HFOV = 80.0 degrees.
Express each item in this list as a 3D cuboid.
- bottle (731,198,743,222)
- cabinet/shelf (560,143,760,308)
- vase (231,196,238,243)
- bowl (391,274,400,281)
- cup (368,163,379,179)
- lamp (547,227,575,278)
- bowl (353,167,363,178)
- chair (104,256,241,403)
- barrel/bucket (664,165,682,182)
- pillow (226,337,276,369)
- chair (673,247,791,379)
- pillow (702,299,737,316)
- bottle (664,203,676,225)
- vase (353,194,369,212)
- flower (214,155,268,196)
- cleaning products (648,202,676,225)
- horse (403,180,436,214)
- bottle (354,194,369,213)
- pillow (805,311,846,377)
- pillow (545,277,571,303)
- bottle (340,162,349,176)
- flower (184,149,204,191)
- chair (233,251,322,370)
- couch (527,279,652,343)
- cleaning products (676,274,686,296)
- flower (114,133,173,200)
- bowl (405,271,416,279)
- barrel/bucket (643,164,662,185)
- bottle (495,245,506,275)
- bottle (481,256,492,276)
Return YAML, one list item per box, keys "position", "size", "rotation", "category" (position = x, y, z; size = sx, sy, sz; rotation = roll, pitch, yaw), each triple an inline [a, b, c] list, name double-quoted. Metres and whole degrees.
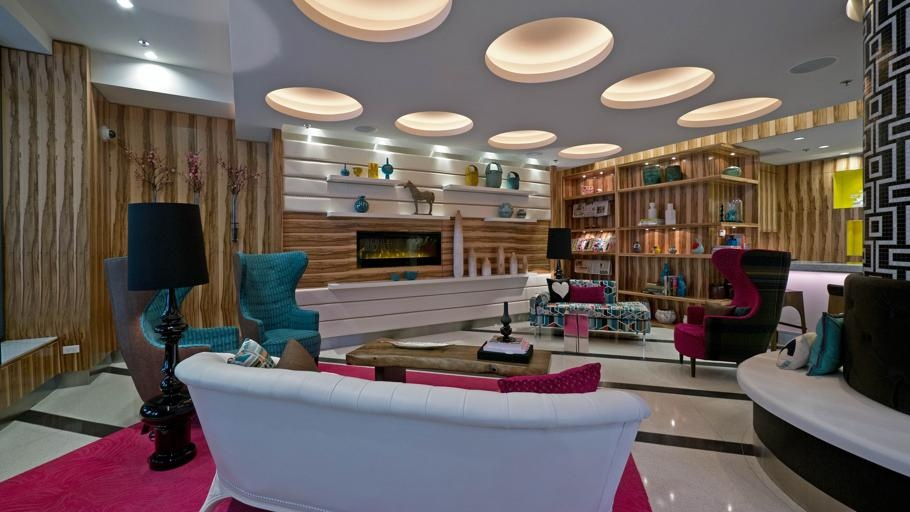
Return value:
- position: [4.634, -0.773, 8.952]
  size: [0.138, 0.298, 0.400]
  rotation: [-2, 0, 39]
  category: "bottle"
- position: [3.547, -0.537, 9.105]
  size: [0.846, 2.323, 2.809]
  rotation: [4, -5, -31]
  category: "cabinet/shelf"
- position: [-3.325, -0.577, 8.206]
  size: [0.105, 0.747, 0.048]
  rotation: [-2, 0, -25]
  category: "vase"
- position: [-0.927, 0.323, 8.590]
  size: [0.111, 0.073, 0.109]
  rotation: [-2, -1, 0]
  category: "bowl"
- position: [-1.263, -1.336, 8.455]
  size: [0.149, 0.235, 0.111]
  rotation: [-2, 0, -24]
  category: "cup"
- position: [1.836, -0.086, 9.467]
  size: [0.365, 0.746, 0.843]
  rotation: [-2, 0, 15]
  category: "lamp"
- position: [-1.497, -1.315, 8.436]
  size: [0.154, 0.117, 0.155]
  rotation: [1, 3, 0]
  category: "bowl"
- position: [-3.247, 0.857, 6.372]
  size: [1.290, 1.334, 1.176]
  rotation: [2, 1, 1]
  category: "chair"
- position: [3.680, -1.402, 9.131]
  size: [0.294, 0.260, 0.285]
  rotation: [1, -2, 0]
  category: "barrel/bucket"
- position: [-1.944, 0.928, 5.192]
  size: [0.350, 0.113, 0.298]
  rotation: [-8, -32, 30]
  category: "pillow"
- position: [3.856, 0.738, 7.813]
  size: [1.668, 1.917, 1.745]
  rotation: [0, -2, 23]
  category: "chair"
- position: [3.509, 0.688, 7.159]
  size: [0.375, 0.114, 0.388]
  rotation: [-13, -5, 18]
  category: "pillow"
- position: [3.645, -0.721, 9.182]
  size: [0.185, 0.306, 0.267]
  rotation: [-2, 0, 21]
  category: "bottle"
- position: [-1.421, -0.824, 8.339]
  size: [0.269, 0.288, 0.252]
  rotation: [6, 9, 32]
  category: "vase"
- position: [-3.283, -1.221, 8.263]
  size: [0.543, 0.327, 0.549]
  rotation: [8, 1, -25]
  category: "flower"
- position: [3.548, -0.737, 9.284]
  size: [0.139, 0.379, 0.425]
  rotation: [0, 1, -33]
  category: "cleaning products"
- position: [-0.545, -0.960, 8.866]
  size: [0.578, 0.510, 0.326]
  rotation: [-2, 0, -18]
  category: "horse"
- position: [-1.432, -0.813, 8.327]
  size: [0.267, 0.293, 0.248]
  rotation: [4, 8, 15]
  category: "bottle"
- position: [3.945, 0.950, 5.759]
  size: [0.734, 0.657, 0.240]
  rotation: [-3, 3, -40]
  category: "pillow"
- position: [1.685, 0.555, 8.813]
  size: [0.390, 0.372, 0.149]
  rotation: [2, -11, -3]
  category: "pillow"
- position: [-1.686, -1.335, 8.349]
  size: [0.138, 0.196, 0.225]
  rotation: [-2, 0, -12]
  category: "bottle"
- position: [-3.832, -1.253, 8.005]
  size: [0.238, 0.652, 0.105]
  rotation: [-2, 0, -22]
  category: "flower"
- position: [-2.289, 0.718, 6.994]
  size: [1.046, 1.505, 1.015]
  rotation: [8, 7, 36]
  category: "chair"
- position: [2.088, 0.848, 8.455]
  size: [1.756, 0.811, 1.050]
  rotation: [-2, 0, 15]
  category: "couch"
- position: [3.781, 0.478, 9.069]
  size: [0.171, 0.282, 0.071]
  rotation: [-2, -9, 34]
  category: "cleaning products"
- position: [-4.424, -1.268, 7.819]
  size: [0.740, 1.004, 0.191]
  rotation: [-2, 0, -8]
  category: "flower"
- position: [-0.696, 0.299, 8.669]
  size: [0.126, 0.086, 0.138]
  rotation: [0, 1, 0]
  category: "bowl"
- position: [3.401, -1.398, 9.382]
  size: [0.338, 0.350, 0.332]
  rotation: [1, -5, 0]
  category: "barrel/bucket"
- position: [0.812, 0.054, 9.573]
  size: [0.185, 0.467, 0.368]
  rotation: [-2, 0, 4]
  category: "bottle"
- position: [0.572, 0.173, 9.375]
  size: [0.128, 0.293, 0.379]
  rotation: [-2, 0, 19]
  category: "bottle"
